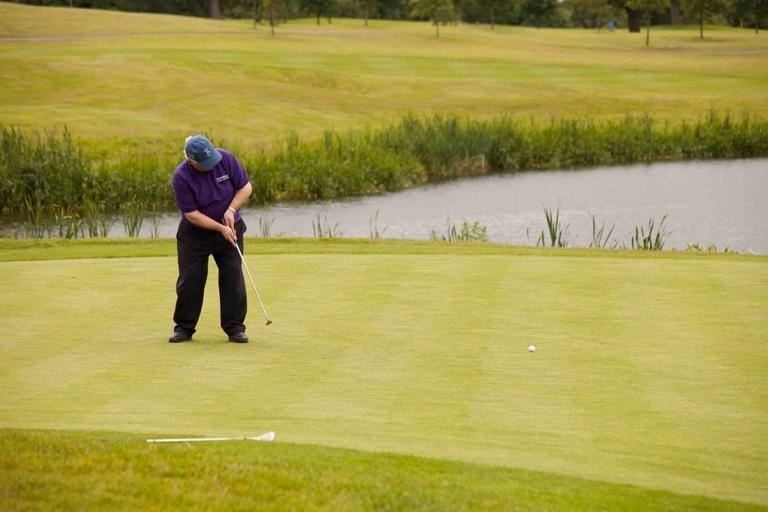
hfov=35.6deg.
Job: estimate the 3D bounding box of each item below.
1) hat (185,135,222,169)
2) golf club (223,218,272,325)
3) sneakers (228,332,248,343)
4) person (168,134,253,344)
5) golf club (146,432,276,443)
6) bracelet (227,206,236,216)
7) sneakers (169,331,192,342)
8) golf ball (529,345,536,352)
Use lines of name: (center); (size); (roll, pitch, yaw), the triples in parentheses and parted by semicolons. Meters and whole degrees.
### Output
hat: (-1.988, -1.171, 13.078); (0.418, 0.291, 0.228); (42, -15, 5)
golf club: (-1.524, 0.300, 13.705); (0.236, 1.617, 0.211); (-27, -11, 25)
sneakers: (-1.598, 0.930, 13.174); (0.229, 0.095, 0.091); (1, 7, 26)
person: (-1.929, -0.210, 13.194); (0.893, 2.328, 0.536); (-1, 8, -6)
golf club: (-1.735, 1.877, 11.948); (1.283, 0.103, 0.098); (0, 8, -2)
bracelet: (-1.684, -0.534, 13.187); (0.113, 0.088, 0.063); (-4, 9, -29)
sneakers: (-2.247, 0.912, 13.178); (0.235, 0.097, 0.099); (1, 3, -13)
golf ball: (1.610, 1.044, 13.042); (0.082, 0.074, 0.084); (0, 8, 0)
